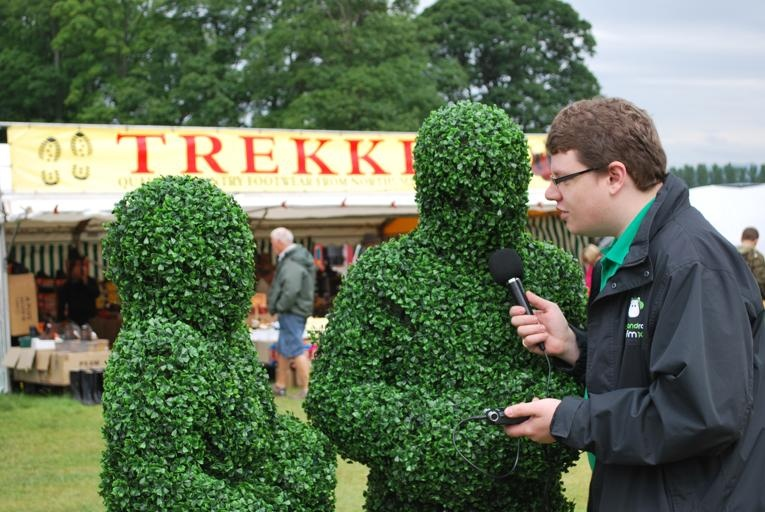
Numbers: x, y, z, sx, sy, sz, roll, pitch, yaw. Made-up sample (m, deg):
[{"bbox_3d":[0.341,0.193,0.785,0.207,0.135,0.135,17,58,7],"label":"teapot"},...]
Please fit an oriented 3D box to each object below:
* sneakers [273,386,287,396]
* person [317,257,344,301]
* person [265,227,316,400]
[{"bbox_3d":[-1.437,1.937,19.238,0.117,0.107,0.253,-5,12,-33],"label":"sneakers"},{"bbox_3d":[-0.874,0.420,22.589,0.520,0.682,0.730,1,-2,-18],"label":"person"},{"bbox_3d":[-1.274,0.800,19.291,0.666,2.370,0.828,0,-2,-5],"label":"person"}]
